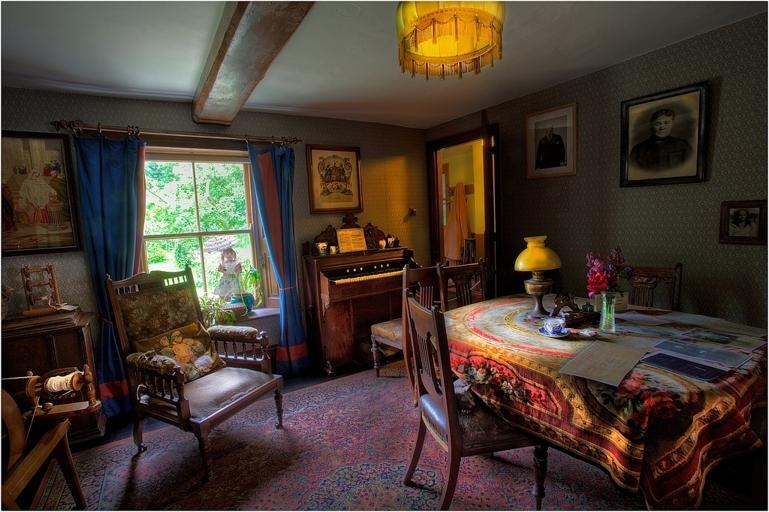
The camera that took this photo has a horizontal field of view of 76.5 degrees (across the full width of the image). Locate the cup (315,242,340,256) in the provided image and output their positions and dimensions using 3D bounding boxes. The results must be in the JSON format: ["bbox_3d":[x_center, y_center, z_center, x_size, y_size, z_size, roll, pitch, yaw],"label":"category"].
[{"bbox_3d":[-0.662,-0.075,5.559,0.231,0.156,0.133,-4,4,-4],"label":"cup"}]

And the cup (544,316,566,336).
[{"bbox_3d":[1.236,0.515,3.536,0.117,0.091,0.128,-2,0,0],"label":"cup"}]

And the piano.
[{"bbox_3d":[-0.297,0.563,5.166,1.263,1.181,0.426,-6,6,-39],"label":"piano"}]

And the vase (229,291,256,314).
[{"bbox_3d":[-1.561,0.501,5.358,0.230,0.182,0.230,3,5,27],"label":"vase"}]

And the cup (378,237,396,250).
[{"bbox_3d":[0.034,-0.151,5.892,0.208,0.135,0.124,-5,2,-25],"label":"cup"}]

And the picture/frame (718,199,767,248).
[{"bbox_3d":[3.019,-0.278,4.096,0.051,0.446,0.433,-6,4,-41],"label":"picture/frame"}]

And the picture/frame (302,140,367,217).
[{"bbox_3d":[-0.627,-0.912,5.706,0.931,1.006,0.101,-4,9,-28],"label":"picture/frame"}]

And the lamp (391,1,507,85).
[{"bbox_3d":[0.436,-1.566,3.449,0.662,0.334,0.666,-4,8,-17],"label":"lamp"}]

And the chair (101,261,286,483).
[{"bbox_3d":[-1.493,0.814,4.925,1.633,2.185,1.622,0,6,29],"label":"chair"}]

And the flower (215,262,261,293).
[{"bbox_3d":[-1.635,0.256,5.437,0.352,0.321,0.353,6,10,39],"label":"flower"}]
